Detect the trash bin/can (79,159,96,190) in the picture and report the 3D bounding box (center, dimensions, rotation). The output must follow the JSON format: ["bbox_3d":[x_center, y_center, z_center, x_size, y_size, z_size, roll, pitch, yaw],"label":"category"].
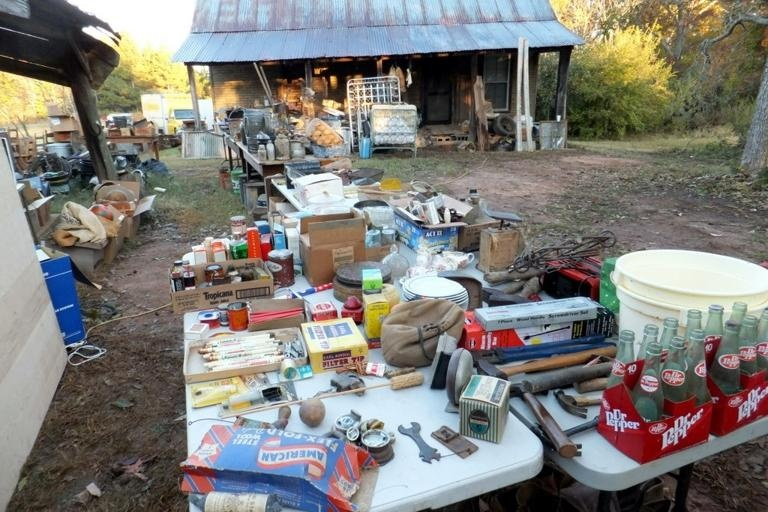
[{"bbox_3d":[-7.110,-1.978,11.307,0.320,0.635,0.641,-15,22,-30],"label":"trash bin/can"}]

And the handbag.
[{"bbox_3d":[0.208,0.473,2.994,0.420,0.202,0.453,-38,26,-24],"label":"handbag"}]

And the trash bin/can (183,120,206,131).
[{"bbox_3d":[-7.233,-4.962,18.079,0.773,0.340,2.715,-11,20,-19],"label":"trash bin/can"}]

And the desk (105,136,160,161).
[{"bbox_3d":[-7.480,-3.363,14.141,1.081,0.989,0.910,0,17,-5],"label":"desk"}]

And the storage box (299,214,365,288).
[{"bbox_3d":[-0.433,-0.080,3.990,0.553,0.546,0.554,-9,16,-26],"label":"storage box"}]

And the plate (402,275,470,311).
[{"bbox_3d":[0.355,0.221,3.301,0.291,0.087,0.288,1,17,1],"label":"plate"}]

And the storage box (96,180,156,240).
[{"bbox_3d":[-4.584,-0.847,8.416,0.815,0.999,1.267,-2,18,-15],"label":"storage box"}]

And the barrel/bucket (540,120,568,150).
[{"bbox_3d":[5.440,-3.891,15.315,0.981,0.908,0.378,-4,11,-10],"label":"barrel/bucket"}]

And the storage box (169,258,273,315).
[{"bbox_3d":[-1.269,0.156,3.629,0.744,0.398,0.581,-7,22,-27],"label":"storage box"}]

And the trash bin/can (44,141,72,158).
[{"bbox_3d":[-8.450,-2.786,12.420,0.505,0.342,0.696,-20,24,-39],"label":"trash bin/can"}]

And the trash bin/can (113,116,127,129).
[{"bbox_3d":[-7.868,-3.967,14.101,0.417,0.382,0.408,1,18,7],"label":"trash bin/can"}]

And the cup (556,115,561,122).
[{"bbox_3d":[5.601,-4.412,15.259,0.118,0.180,0.184,2,20,16],"label":"cup"}]

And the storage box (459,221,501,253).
[{"bbox_3d":[0.841,-0.176,4.212,0.405,0.249,0.099,-12,20,-21],"label":"storage box"}]

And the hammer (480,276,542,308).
[{"bbox_3d":[0.946,0.271,3.494,0.266,0.077,0.268,-11,11,-5],"label":"hammer"}]

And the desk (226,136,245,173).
[{"bbox_3d":[-3.517,-2.390,11.205,0.391,0.637,1.319,-3,27,-16],"label":"desk"}]
